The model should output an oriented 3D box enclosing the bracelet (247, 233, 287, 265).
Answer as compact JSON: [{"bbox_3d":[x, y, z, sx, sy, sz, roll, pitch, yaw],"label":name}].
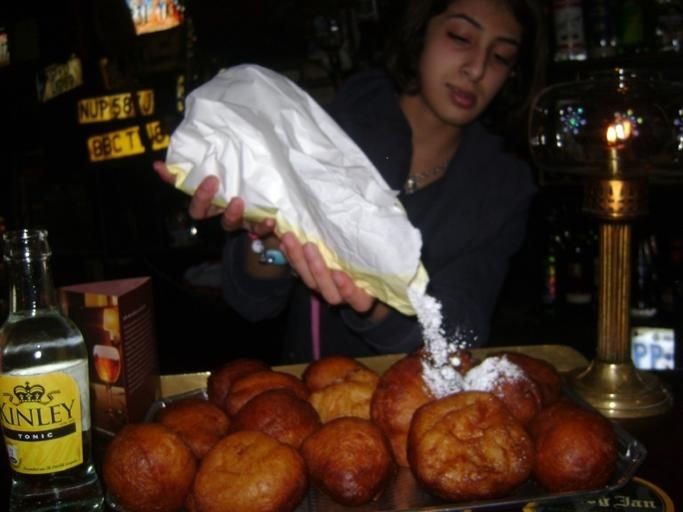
[{"bbox_3d":[-0.166,-0.012,1.538,0.075,0.061,0.035,2,11,27],"label":"bracelet"}]

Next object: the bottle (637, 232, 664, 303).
[{"bbox_3d":[1.359,0.064,2.938,0.106,0.317,0.079,2,11,27],"label":"bottle"}]
